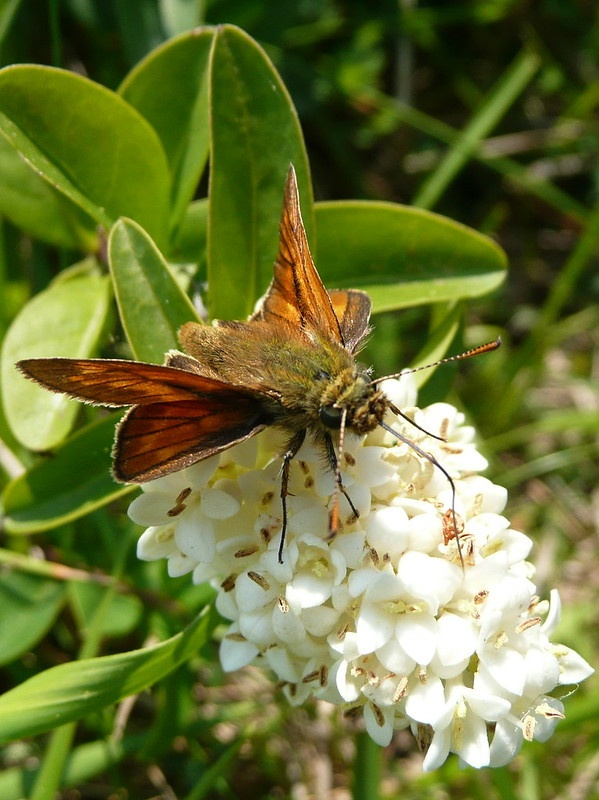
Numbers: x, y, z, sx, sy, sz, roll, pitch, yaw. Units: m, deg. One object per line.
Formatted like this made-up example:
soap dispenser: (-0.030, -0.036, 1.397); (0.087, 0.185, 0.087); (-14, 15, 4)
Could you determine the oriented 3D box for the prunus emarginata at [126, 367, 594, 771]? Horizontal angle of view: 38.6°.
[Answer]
prunus emarginata: (0.133, 0.496, 2.355); (1.068, 0.544, 0.942); (27, 74, 1)
